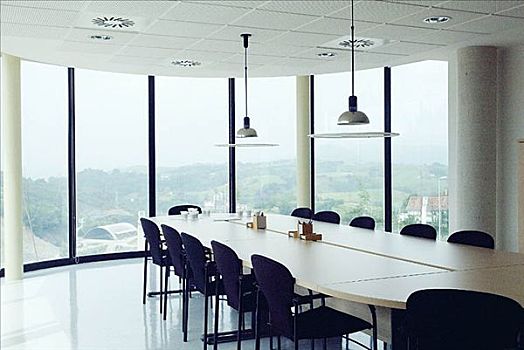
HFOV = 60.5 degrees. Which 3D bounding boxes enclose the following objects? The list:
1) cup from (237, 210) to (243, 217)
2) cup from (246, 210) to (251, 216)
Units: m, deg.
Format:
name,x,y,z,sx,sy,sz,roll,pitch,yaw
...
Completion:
name,x,y,z,sx,sy,sz,roll,pitch,yaw
cup,-0.345,0.623,7.195,0.099,0.064,0.070,-2,4,-21
cup,-0.214,0.598,7.149,0.093,0.062,0.074,-4,-3,43
